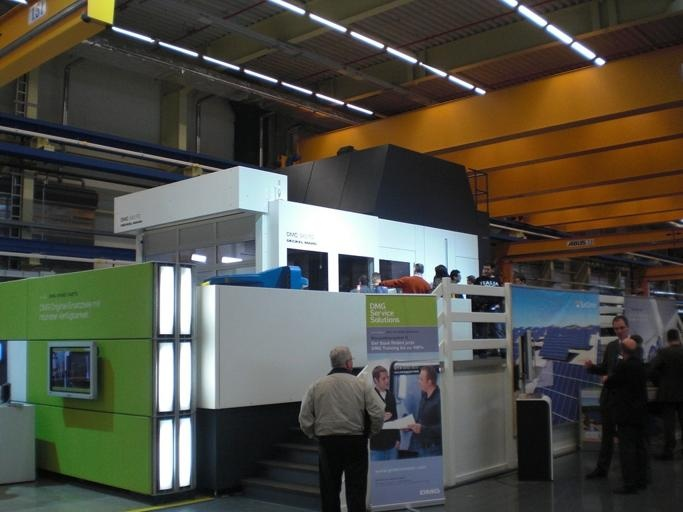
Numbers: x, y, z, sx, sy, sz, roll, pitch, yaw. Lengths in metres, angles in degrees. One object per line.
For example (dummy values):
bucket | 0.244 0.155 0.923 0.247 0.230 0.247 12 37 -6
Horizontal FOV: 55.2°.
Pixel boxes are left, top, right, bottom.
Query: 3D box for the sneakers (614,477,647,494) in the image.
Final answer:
sneakers | 3.630 2.854 8.169 0.491 0.212 0.159 2 -11 -11

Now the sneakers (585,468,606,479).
sneakers | 3.388 2.917 8.788 0.328 0.146 0.109 2 -9 15
